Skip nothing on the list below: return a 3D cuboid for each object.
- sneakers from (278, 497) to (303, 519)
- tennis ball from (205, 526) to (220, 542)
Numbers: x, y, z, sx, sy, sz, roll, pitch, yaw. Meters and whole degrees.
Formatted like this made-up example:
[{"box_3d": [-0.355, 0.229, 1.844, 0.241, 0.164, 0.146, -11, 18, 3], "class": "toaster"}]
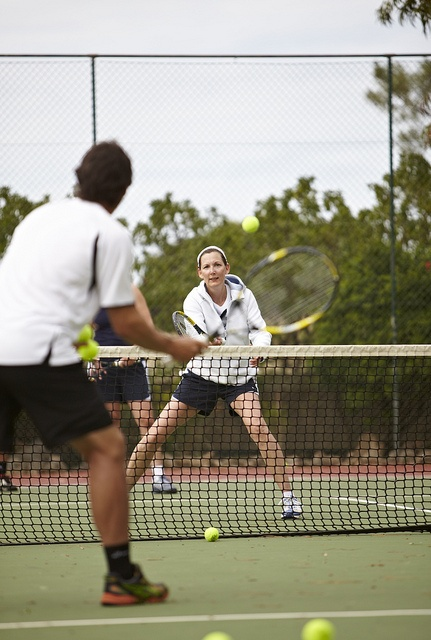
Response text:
[{"box_3d": [0.393, 0.969, 4.008, 0.084, 0.136, 0.042, 2, -7, -20], "class": "sneakers"}, {"box_3d": [-0.021, 1.008, 3.640, 0.059, 0.062, 0.060, -18, 17, 6], "class": "tennis ball"}]
